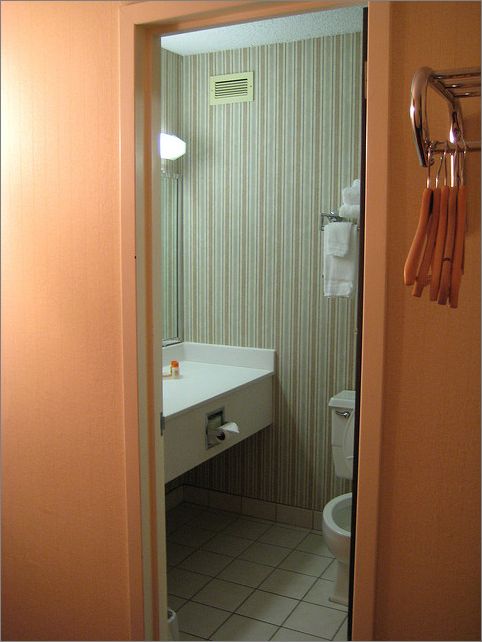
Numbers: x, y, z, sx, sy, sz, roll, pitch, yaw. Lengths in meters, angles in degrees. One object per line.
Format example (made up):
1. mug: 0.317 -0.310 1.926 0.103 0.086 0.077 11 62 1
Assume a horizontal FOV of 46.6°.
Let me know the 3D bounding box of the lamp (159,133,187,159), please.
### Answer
1. lamp: -0.338 -0.821 2.621 0.108 0.089 0.186 2 5 25

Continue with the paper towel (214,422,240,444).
1. paper towel: -0.058 0.445 2.212 0.088 0.058 0.071 -3 7 9

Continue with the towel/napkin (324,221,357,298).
1. towel/napkin: 0.447 -0.275 2.507 0.149 0.330 0.074 1 4 12
